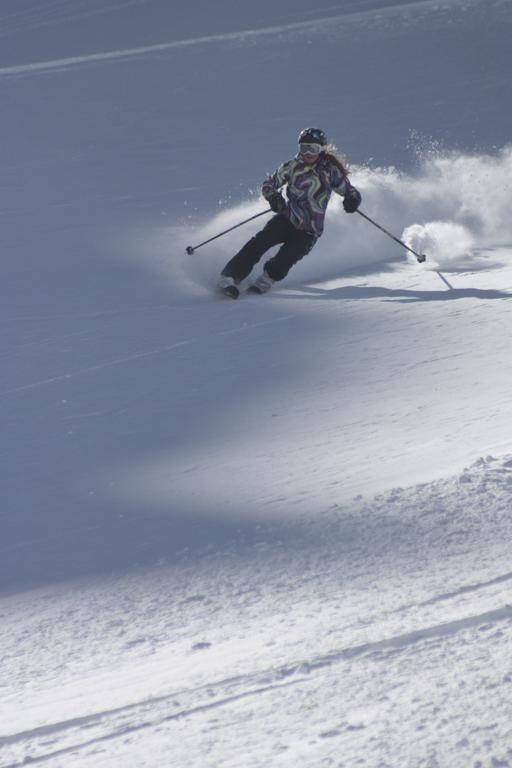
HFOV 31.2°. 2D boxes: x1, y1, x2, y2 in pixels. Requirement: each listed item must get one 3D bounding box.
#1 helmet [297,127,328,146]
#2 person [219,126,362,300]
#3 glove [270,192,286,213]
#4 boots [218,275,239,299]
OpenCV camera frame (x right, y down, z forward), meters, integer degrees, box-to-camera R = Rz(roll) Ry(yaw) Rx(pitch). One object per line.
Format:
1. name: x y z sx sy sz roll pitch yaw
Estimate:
1. helmet: 0.403 -1.792 6.687 0.175 0.130 0.264 -5 8 10
2. person: 0.236 -1.285 7.000 1.054 1.185 0.541 -3 10 22
3. glove: 0.151 -1.355 6.927 0.138 0.143 0.140 -4 -3 -10
4. boots: -0.213 -0.742 7.060 0.102 0.146 0.154 -38 -11 9
